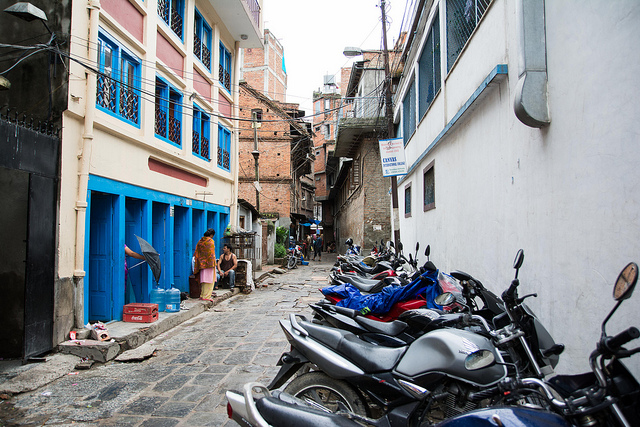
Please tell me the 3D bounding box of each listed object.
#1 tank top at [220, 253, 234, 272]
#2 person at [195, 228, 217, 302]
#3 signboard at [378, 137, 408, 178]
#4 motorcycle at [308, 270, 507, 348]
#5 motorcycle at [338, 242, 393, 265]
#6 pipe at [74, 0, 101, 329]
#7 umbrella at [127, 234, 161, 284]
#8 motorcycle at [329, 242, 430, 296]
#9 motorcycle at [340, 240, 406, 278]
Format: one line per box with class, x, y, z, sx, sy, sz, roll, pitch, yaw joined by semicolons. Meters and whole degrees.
tank top;-2.721;1.468;14.401;0.494;0.708;0.365;6;-18;-16
person;-2.862;1.328;12.092;0.490;1.774;0.603;0;-7;-16
signboard;1.956;-1.565;13.059;0.661;1.086;0.460;-3;-7;6
motorcycle;0.824;1.167;5.619;2.159;1.288;1.003;-3;0;14
motorcycle;1.182;1.252;12.843;1.278;0.861;0.716;-6;11;4
pipe;-4.168;-0.920;8.638;0.282;5.866;0.628;2;-7;-27
umbrella;-3.421;0.939;9.834;0.572;0.917;0.369;-5;-8;24
motorcycle;1.050;1.147;8.393;1.749;1.103;0.853;-7;-6;27
motorcycle;1.164;1.065;10.615;1.254;0.843;0.681;-5;-3;6
